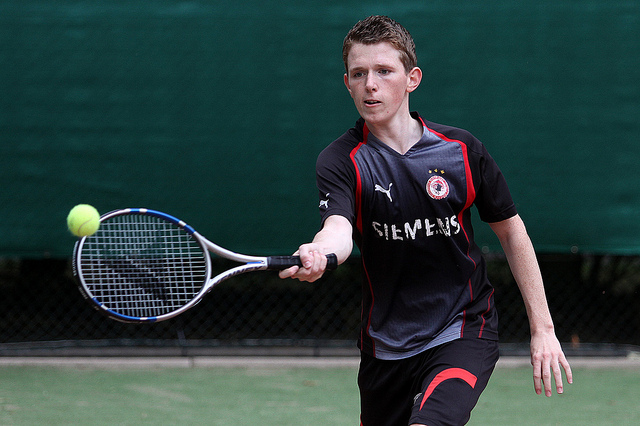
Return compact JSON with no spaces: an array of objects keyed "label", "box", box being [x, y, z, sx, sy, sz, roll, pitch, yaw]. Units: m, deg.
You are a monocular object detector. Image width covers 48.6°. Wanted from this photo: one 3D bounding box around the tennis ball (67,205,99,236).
[{"label":"tennis ball","box":[-1.131,0.034,3.407,0.144,0.147,0.146,0,1,0]}]
